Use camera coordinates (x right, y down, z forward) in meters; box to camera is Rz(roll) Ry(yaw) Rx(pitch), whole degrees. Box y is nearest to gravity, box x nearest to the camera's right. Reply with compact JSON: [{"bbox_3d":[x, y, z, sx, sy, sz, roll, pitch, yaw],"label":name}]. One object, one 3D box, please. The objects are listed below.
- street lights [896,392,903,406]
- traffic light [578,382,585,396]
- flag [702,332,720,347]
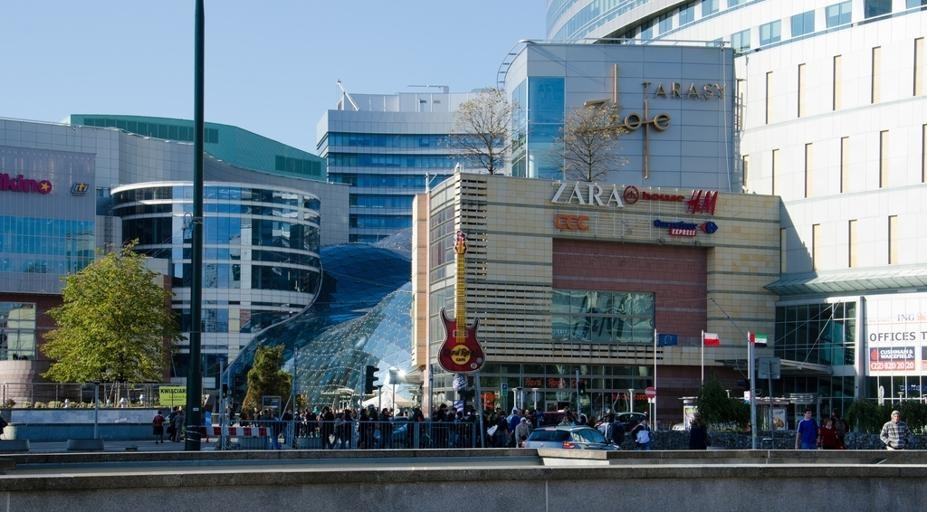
[{"bbox_3d":[40.490,13.395,192.311,0.152,0.864,0.839,17,-17,-17],"label":"street lights"},{"bbox_3d":[10.618,12.020,187.150,0.487,1.292,1.101,0,-10,-2],"label":"traffic light"},{"bbox_3d":[23.406,8.073,196.275,1.579,0.946,0.172,0,6,-18],"label":"flag"}]
